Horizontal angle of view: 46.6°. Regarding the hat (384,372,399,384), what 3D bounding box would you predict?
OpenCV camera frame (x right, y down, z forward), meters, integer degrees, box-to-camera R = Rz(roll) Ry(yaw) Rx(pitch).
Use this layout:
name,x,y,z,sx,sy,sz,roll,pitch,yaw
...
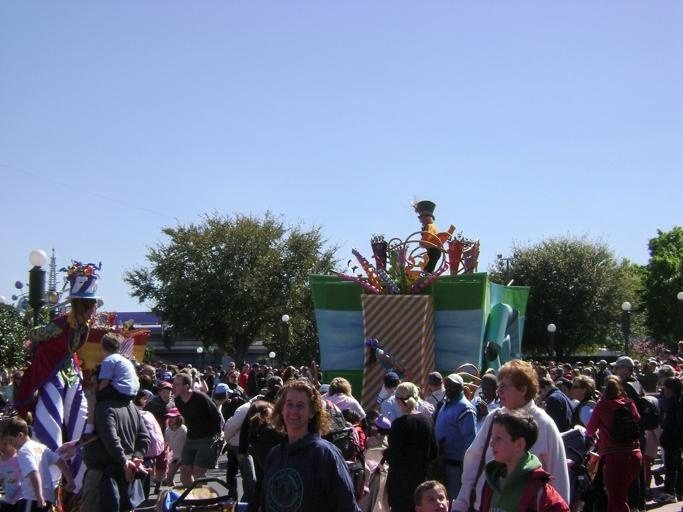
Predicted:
name,x,y,z,sx,sy,sz,roll,pitch,yaw
hat,0.695,1.720,11.156,0.182,0.152,0.268,4,-10,8

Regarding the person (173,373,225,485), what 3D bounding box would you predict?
name,x,y,z,sx,sy,sz,roll,pitch,yaw
person,-2.089,2.658,11.425,0.679,1.936,0.689,-4,-8,12

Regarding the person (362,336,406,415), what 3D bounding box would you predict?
name,x,y,z,sx,sy,sz,roll,pitch,yaw
person,0.931,2.527,16.311,0.593,1.854,0.977,-16,6,-35

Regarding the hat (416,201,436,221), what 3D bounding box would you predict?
name,x,y,z,sx,sy,sz,roll,pitch,yaw
hat,1.946,-1.166,18.863,0.470,0.430,0.988,2,-10,5

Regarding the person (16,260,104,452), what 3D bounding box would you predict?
name,x,y,z,sx,sy,sz,roll,pitch,yaw
person,-3.768,1.543,10.704,1.090,2.876,1.005,2,-2,41

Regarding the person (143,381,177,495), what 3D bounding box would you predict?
name,x,y,z,sx,sy,sz,roll,pitch,yaw
person,-3.013,2.919,13.628,0.477,1.568,0.450,-9,9,-35

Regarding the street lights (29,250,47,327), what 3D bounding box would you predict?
name,x,y,z,sx,sy,sz,roll,pitch,yaw
street lights,-4.435,0.614,11.511,0.225,1.411,0.234,1,2,4

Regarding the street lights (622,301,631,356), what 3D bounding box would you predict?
name,x,y,z,sx,sy,sz,roll,pitch,yaw
street lights,9.293,2.481,25.857,0.283,1.862,0.296,-2,3,19

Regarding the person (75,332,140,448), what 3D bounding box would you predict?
name,x,y,z,sx,sy,sz,roll,pitch,yaw
person,-2.847,1.587,9.479,0.715,1.334,0.527,-2,-15,3

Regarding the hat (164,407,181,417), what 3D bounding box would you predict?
name,x,y,z,sx,sy,sz,roll,pitch,yaw
hat,-2.617,2.410,12.242,0.175,0.101,0.266,-6,-10,4
